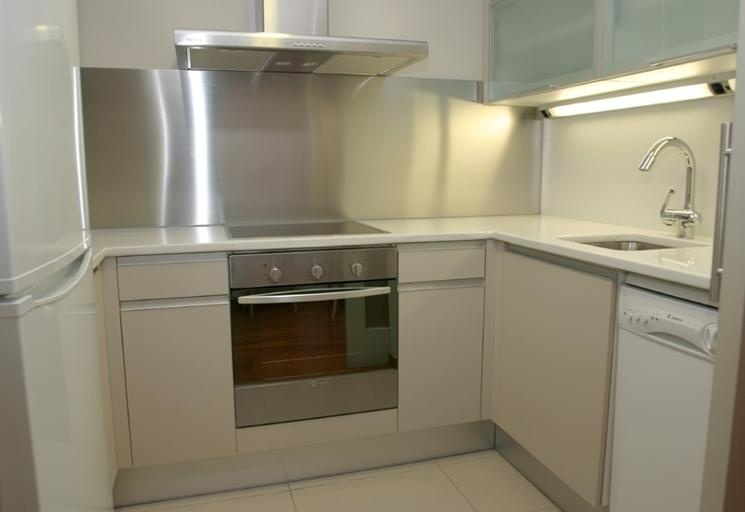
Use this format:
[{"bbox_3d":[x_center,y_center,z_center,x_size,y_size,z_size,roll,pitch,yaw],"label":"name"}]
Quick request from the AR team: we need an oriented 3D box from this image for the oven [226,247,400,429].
[{"bbox_3d":[-0.286,0.316,2.662,0.740,0.721,0.540,-3,3,-20],"label":"oven"}]

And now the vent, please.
[{"bbox_3d":[-0.336,-0.919,2.636,1.066,0.128,0.506,-3,13,-17],"label":"vent"}]
